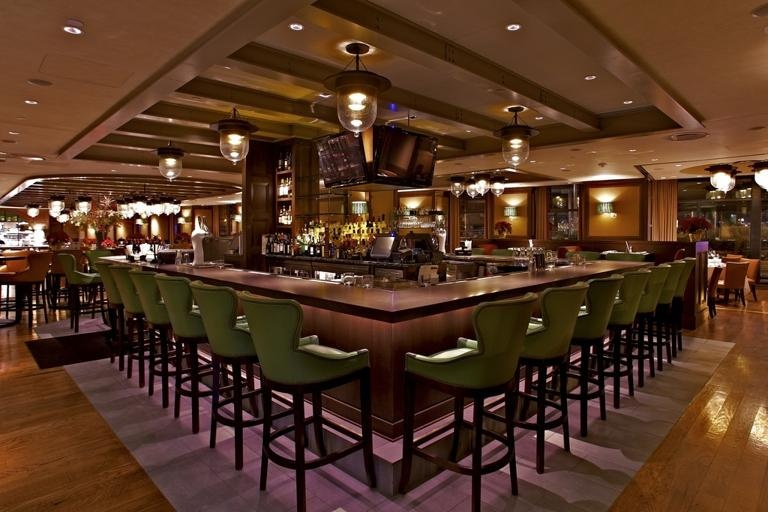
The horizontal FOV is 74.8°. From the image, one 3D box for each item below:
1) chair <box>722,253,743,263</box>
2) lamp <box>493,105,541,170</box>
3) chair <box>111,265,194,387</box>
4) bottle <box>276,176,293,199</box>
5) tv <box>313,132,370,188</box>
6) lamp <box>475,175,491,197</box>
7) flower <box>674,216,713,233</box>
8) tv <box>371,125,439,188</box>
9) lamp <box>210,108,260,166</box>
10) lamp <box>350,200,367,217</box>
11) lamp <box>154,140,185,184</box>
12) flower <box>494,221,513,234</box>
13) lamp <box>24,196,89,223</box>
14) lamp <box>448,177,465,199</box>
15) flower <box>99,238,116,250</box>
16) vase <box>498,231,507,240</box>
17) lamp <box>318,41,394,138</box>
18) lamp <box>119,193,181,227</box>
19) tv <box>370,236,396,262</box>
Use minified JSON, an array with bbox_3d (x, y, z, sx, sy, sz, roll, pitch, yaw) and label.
[{"bbox_3d":[8.524,0.041,12.291,0.250,0.269,0.238,3,11,16],"label":"chair"},{"bbox_3d":[1.911,-1.743,7.316,0.654,0.833,0.612,0,0,18],"label":"lamp"},{"bbox_3d":[-2.419,0.772,5.821,0.949,1.151,0.797,1,-8,-10],"label":"chair"},{"bbox_3d":[-2.007,-1.380,10.114,0.268,0.449,0.495,-8,11,-43],"label":"bottle"},{"bbox_3d":[-0.670,-1.616,8.367,0.146,0.819,1.243,-19,12,-38],"label":"tv"},{"bbox_3d":[2.047,-1.528,10.785,0.381,0.513,0.364,-6,13,-30],"label":"lamp"},{"bbox_3d":[6.852,-0.670,11.167,0.664,0.501,0.664,1,3,39],"label":"flower"},{"bbox_3d":[0.296,-1.601,8.134,0.228,0.878,1.482,18,15,41],"label":"tv"},{"bbox_3d":[-2.030,-1.635,6.814,0.824,0.732,0.785,-3,9,-29],"label":"lamp"},{"bbox_3d":[-0.514,-0.976,10.246,0.428,0.268,0.400,0,0,-3],"label":"lamp"},{"bbox_3d":[-3.249,-1.449,7.634,0.483,0.515,0.460,-4,8,-34],"label":"lamp"},{"bbox_3d":[3.910,-0.914,16.505,0.602,0.427,0.567,1,-1,-2],"label":"flower"},{"bbox_3d":[-11.747,-1.690,17.941,1.461,0.418,1.895,0,-4,9],"label":"lamp"},{"bbox_3d":[1.644,-1.561,11.161,0.314,0.354,0.600,-2,4,11],"label":"lamp"},{"bbox_3d":[-6.220,-0.269,11.328,0.380,0.279,0.345,2,2,17],"label":"flower"},{"bbox_3d":[4.125,-0.735,17.979,0.376,0.279,0.492,-3,-5,16],"label":"vase"},{"bbox_3d":[-0.350,-2.049,5.911,0.722,1.192,1.000,-3,5,-6],"label":"lamp"},{"bbox_3d":[-9.122,-1.814,19.700,1.949,0.725,1.839,0,-1,11],"label":"lamp"},{"bbox_3d":[-0.027,-0.132,8.285,0.459,0.376,0.109,-3,-22,44],"label":"tv"}]
